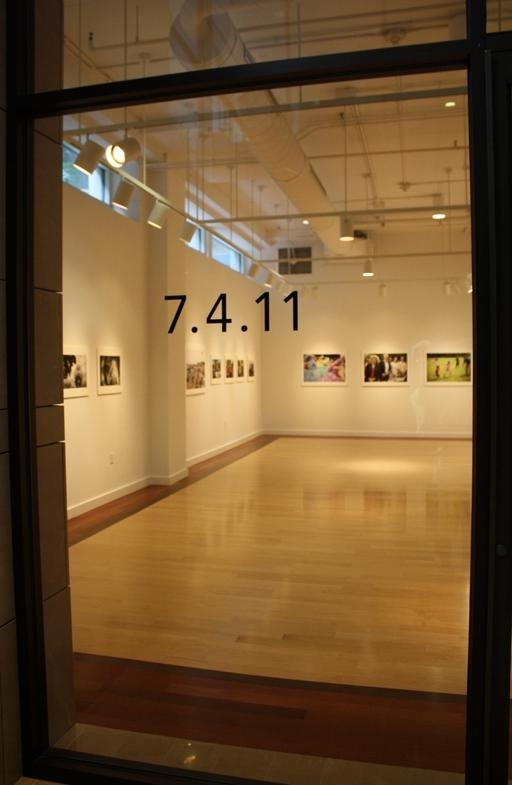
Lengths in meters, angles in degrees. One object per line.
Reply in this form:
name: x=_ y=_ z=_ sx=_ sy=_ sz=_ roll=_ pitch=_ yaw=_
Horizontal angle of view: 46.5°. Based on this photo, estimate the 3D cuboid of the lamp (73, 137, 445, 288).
lamp: x=-0.139 y=-0.858 z=2.804 sx=1.534 sy=0.642 sz=0.257 roll=1 pitch=3 yaw=8

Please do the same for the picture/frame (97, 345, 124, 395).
picture/frame: x=-0.733 y=-0.109 z=2.979 sx=0.012 sy=0.399 sz=0.180 roll=8 pitch=9 yaw=42

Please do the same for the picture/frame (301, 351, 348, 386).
picture/frame: x=0.327 y=-0.111 z=2.887 sx=0.204 sy=0.138 sz=0.052 roll=1 pitch=3 yaw=5

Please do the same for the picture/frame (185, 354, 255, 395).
picture/frame: x=-0.181 y=-0.069 z=2.991 sx=0.348 sy=0.184 sz=0.092 roll=1 pitch=3 yaw=-3
